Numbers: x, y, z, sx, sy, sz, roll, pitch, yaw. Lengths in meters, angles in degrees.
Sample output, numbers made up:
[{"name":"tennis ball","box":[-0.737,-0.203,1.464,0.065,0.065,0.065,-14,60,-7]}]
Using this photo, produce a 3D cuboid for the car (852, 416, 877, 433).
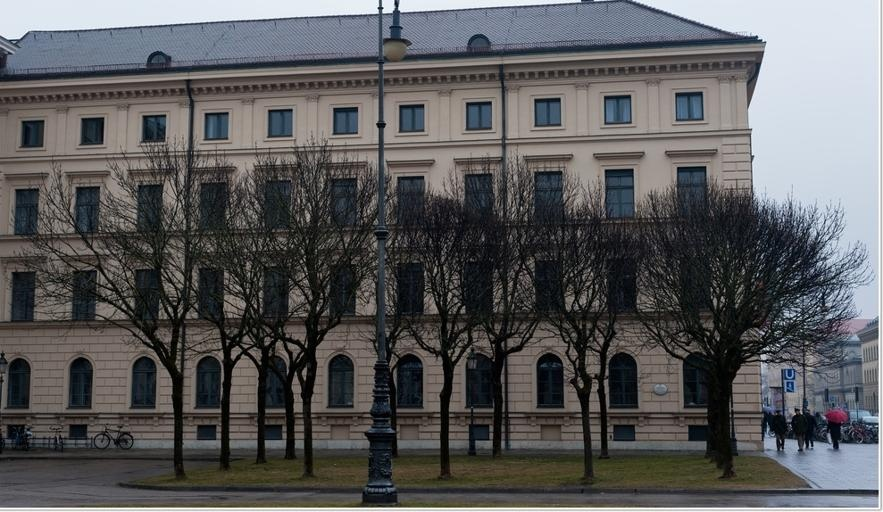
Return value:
[{"name":"car","box":[31.361,12.274,104.210,1.519,1.381,2.335,-1,-12,6]}]
